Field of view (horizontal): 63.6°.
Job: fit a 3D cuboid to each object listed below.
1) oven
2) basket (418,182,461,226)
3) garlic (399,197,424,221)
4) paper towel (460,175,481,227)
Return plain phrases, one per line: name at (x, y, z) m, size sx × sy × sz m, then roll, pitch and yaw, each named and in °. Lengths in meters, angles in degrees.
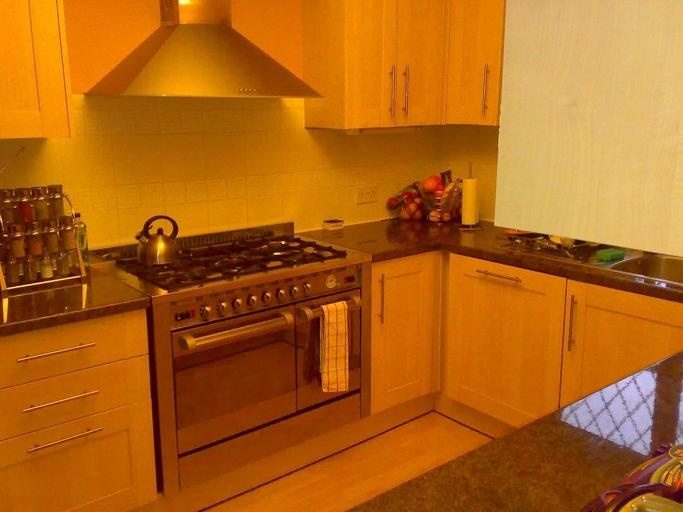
oven at (-0.357, 0.577, 2.290) m, size 0.451 × 0.729 × 0.866 m, roll 9°, pitch 16°, yaw 40°
basket at (0.603, -0.297, 3.245) m, size 0.253 × 0.241 × 0.209 m, roll 3°, pitch 12°, yaw 19°
garlic at (0.426, -0.269, 3.343) m, size 0.114 × 0.082 × 0.147 m, roll -23°, pitch 23°, yaw 20°
paper towel at (0.717, -0.303, 3.088) m, size 0.082 × 0.248 × 0.052 m, roll 3°, pitch 13°, yaw 15°
